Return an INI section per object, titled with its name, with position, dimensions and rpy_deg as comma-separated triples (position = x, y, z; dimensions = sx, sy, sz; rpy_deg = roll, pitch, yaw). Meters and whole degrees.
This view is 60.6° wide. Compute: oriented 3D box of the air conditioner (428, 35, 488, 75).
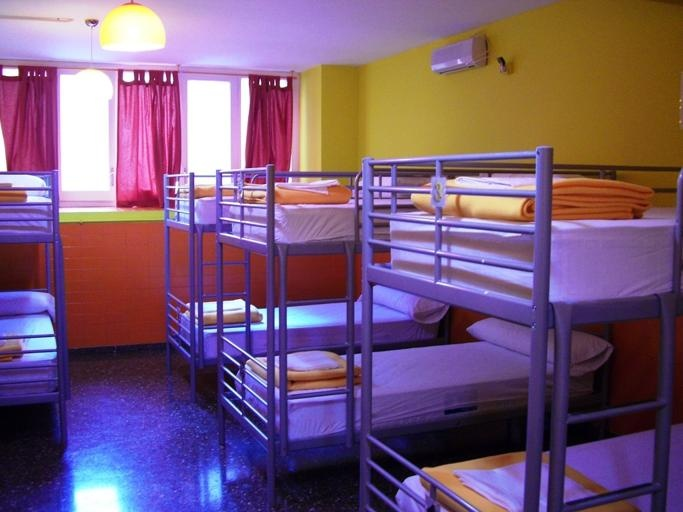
[air conditioner]
position = 1.003, -1.738, 5.065
dimensions = 0.162, 0.263, 0.516
rpy_deg = -17, 15, -32

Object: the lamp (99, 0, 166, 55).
[lamp]
position = -1.320, -1.383, 3.704
dimensions = 0.401, 0.381, 0.392
rpy_deg = 1, 17, 1
